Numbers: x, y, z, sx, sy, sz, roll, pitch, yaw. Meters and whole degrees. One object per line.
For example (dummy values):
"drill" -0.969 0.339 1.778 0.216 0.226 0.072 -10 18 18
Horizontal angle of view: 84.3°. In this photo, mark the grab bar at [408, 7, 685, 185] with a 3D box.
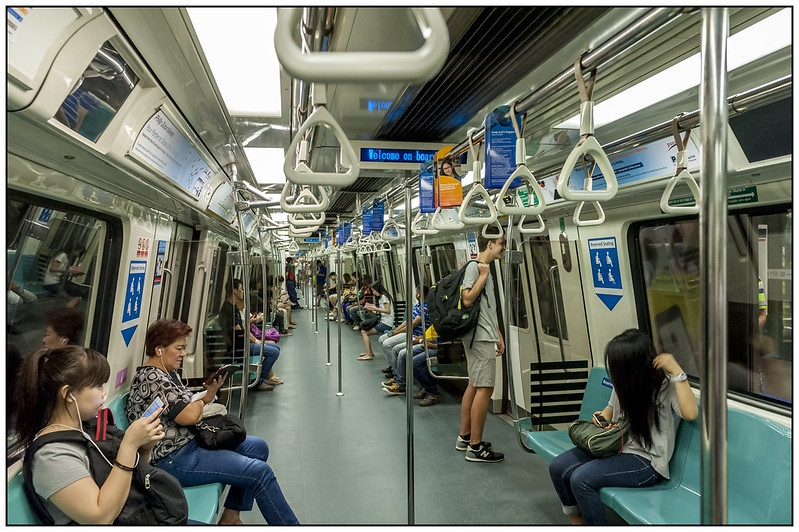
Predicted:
"grab bar" 0.836 -0.937 2.442 0.185 0.157 1.359 -23 1 -22

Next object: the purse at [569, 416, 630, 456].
"purse" 1.533 1.326 3.427 0.402 0.159 0.293 0 0 -28

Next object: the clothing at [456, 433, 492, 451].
"clothing" 0.935 2.102 5.208 0.528 0.207 0.167 0 0 -10

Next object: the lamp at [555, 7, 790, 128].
"lamp" 1.591 -1.157 2.525 0.173 0.079 1.108 16 -3 -16

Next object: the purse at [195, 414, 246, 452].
"purse" -1.399 1.295 3.431 0.316 0.289 0.124 9 -48 -19

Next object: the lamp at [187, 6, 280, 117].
"lamp" -1.152 -1.449 3.265 0.505 0.156 1.520 1 -8 -13

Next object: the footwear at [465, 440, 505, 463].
"footwear" 0.931 2.097 4.964 0.464 0.193 0.179 0 -3 -4

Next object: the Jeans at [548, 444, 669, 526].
"Jeans" 1.592 1.673 3.423 0.720 0.305 0.682 -8 -1 -1
